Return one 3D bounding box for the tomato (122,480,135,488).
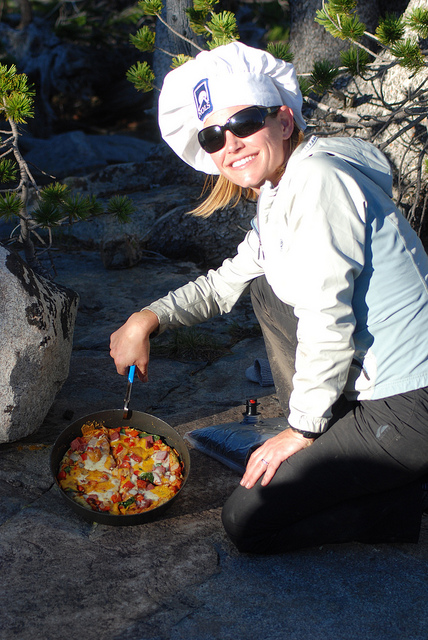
[{"bbox_3d":[-0.290,0.560,2.207,0.030,0.012,0.038,19,26,19],"label":"tomato"}]

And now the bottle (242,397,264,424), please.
[{"bbox_3d":[0.163,0.398,2.867,0.109,0.093,0.102,-1,9,2],"label":"bottle"}]

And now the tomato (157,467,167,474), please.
[{"bbox_3d":[-0.183,0.527,2.289,0.035,0.012,0.025,-1,28,-22],"label":"tomato"}]

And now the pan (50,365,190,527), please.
[{"bbox_3d":[-0.325,0.479,2.274,0.486,0.120,0.505,19,26,19],"label":"pan"}]

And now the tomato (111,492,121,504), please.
[{"bbox_3d":[-0.325,0.582,2.121,0.027,0.012,0.022,-11,47,-16],"label":"tomato"}]
